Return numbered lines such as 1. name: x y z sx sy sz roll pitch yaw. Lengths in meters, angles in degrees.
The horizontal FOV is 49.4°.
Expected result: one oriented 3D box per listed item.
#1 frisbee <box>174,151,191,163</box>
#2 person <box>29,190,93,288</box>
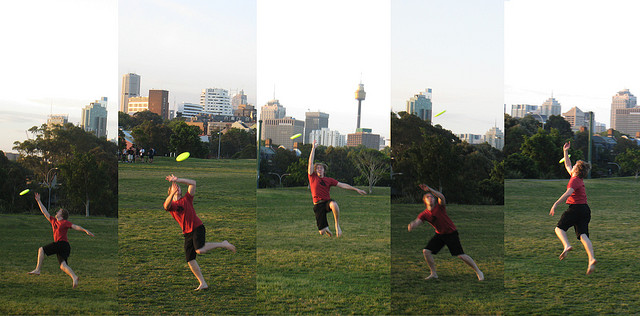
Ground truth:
1. frisbee: -4.713 -0.040 23.837 0.517 0.275 0.135 -21 -13 -6
2. person: -8.684 2.729 23.142 1.736 3.029 0.754 1 5 5
